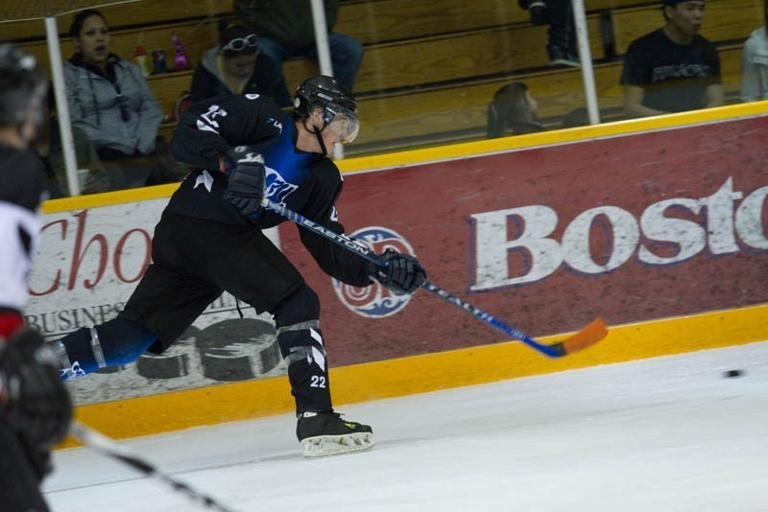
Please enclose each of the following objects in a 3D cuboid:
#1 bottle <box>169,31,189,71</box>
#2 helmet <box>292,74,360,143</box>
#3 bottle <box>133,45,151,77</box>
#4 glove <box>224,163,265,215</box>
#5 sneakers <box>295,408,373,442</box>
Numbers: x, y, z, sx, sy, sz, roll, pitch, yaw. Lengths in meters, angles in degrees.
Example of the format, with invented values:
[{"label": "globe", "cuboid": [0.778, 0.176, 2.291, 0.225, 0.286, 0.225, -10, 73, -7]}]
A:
[{"label": "bottle", "cuboid": [-1.073, -1.066, 5.401, 0.077, 0.191, 0.012, -9, 10, -7]}, {"label": "helmet", "cuboid": [-0.238, -0.714, 4.994, 0.391, 0.286, 0.264, 13, 16, -10]}, {"label": "bottle", "cuboid": [-1.264, -1.012, 5.389, 0.072, 0.152, 0.013, -11, 10, -18]}, {"label": "glove", "cuboid": [-0.634, -0.303, 4.649, 0.214, 0.210, 0.065, 8, 1, -2]}, {"label": "sneakers", "cuboid": [-0.247, 0.786, 4.837, 0.423, 0.130, 0.121, 0, -12, -12]}]
